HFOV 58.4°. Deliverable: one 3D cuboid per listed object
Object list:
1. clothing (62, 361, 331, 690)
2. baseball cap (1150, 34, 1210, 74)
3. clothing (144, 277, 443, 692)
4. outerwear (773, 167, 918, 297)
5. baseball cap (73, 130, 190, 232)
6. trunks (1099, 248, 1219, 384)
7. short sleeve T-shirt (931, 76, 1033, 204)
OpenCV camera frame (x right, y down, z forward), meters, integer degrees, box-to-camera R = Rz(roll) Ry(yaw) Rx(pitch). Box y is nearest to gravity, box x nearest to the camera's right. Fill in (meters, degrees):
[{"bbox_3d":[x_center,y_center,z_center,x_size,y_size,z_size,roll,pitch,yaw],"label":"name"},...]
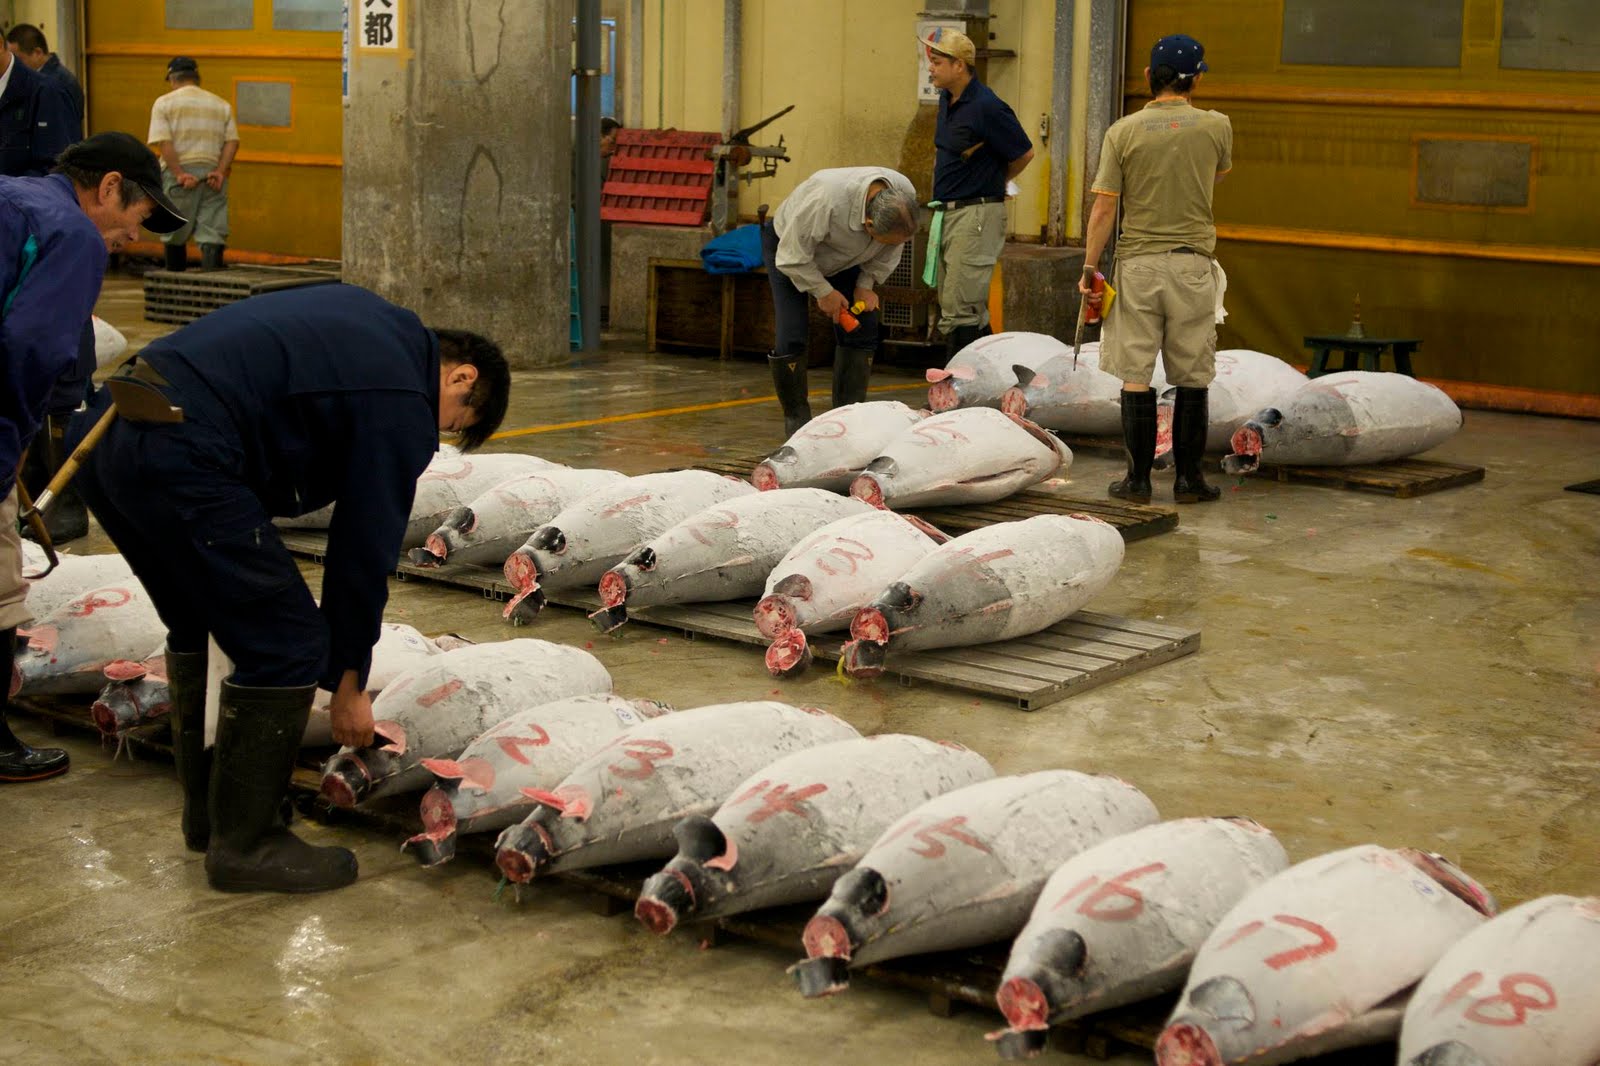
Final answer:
[{"bbox_3d":[-1.713,-0.028,4.083,0.680,0.886,0.367,10,13,35],"label":"clothing"},{"bbox_3d":[2.046,-2.548,7.675,0.214,0.177,0.307,12,32,23],"label":"baseball cap"},{"bbox_3d":[-1.614,-0.299,4.305,0.814,1.138,0.854,-1,32,-38],"label":"clothing"},{"bbox_3d":[0.265,-1.785,8.338,0.743,0.894,0.735,3,40,-11],"label":"outerwear"},{"bbox_3d":[-2.088,-1.120,4.495,0.415,0.226,0.261,13,-6,-25],"label":"baseball cap"},{"bbox_3d":[2.011,-1.203,7.900,0.641,0.769,0.434,4,21,14],"label":"trunks"},{"bbox_3d":[1.144,-2.652,9.931,0.546,0.798,0.902,-8,16,-26],"label":"short sleeve T-shirt"}]
